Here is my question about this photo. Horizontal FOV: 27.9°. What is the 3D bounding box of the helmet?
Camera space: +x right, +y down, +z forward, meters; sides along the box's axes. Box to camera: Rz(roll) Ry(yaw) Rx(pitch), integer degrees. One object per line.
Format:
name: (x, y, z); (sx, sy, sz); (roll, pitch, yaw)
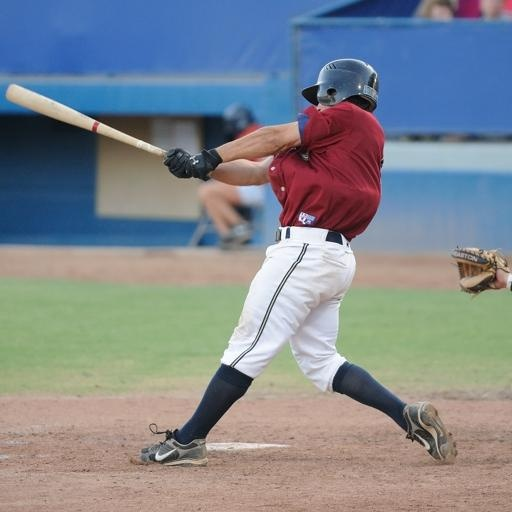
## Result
helmet: (0.472, -0.913, 5.577); (0.469, 0.204, 0.272); (3, -7, 18)

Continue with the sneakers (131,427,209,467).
sneakers: (-0.442, 1.041, 5.556); (0.556, 0.188, 0.152); (1, -5, 11)

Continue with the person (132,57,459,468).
person: (0.231, 0.032, 5.483); (1.560, 2.132, 0.717); (1, 13, -4)
